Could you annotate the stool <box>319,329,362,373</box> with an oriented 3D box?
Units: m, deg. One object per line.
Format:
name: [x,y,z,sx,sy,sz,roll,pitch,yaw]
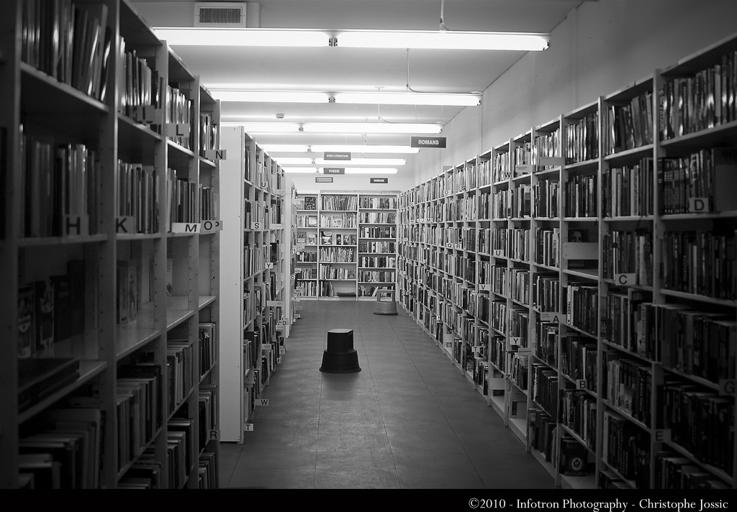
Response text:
stool: [-0.400,1.217,7.967,0.501,0.492,0.502,1,-4,-32]
